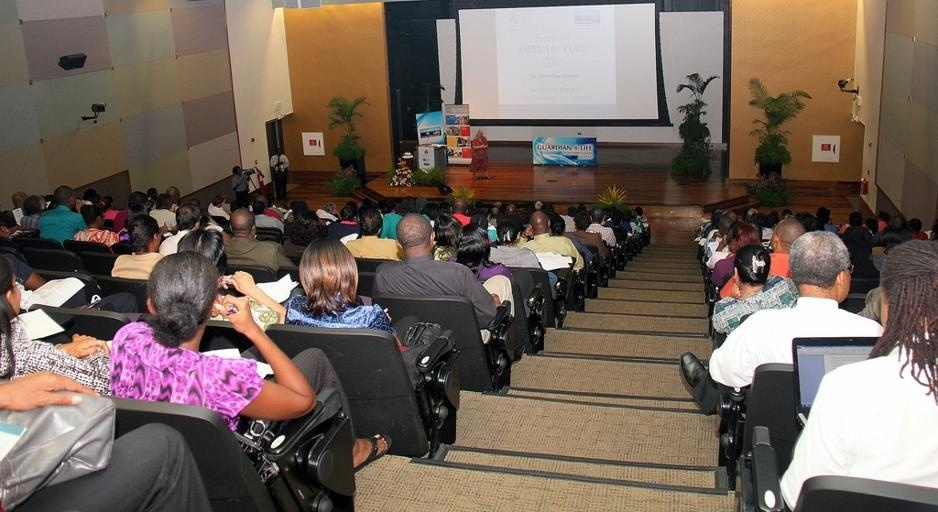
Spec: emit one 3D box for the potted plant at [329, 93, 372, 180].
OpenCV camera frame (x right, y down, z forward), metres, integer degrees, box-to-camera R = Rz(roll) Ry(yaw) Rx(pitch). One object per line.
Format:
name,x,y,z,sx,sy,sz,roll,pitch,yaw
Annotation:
potted plant,-4.038,-3.944,18.891,1.279,2.780,1.486,-1,13,-13

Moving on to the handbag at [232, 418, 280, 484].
handbag,-1.095,1.023,2.899,0.199,0.228,0.217,-37,35,-7

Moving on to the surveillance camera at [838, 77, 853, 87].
surveillance camera,10.534,-4.868,15.857,0.532,0.224,0.286,-30,21,-37

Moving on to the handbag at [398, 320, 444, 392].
handbag,-0.385,0.714,4.005,0.322,0.134,0.373,17,35,21

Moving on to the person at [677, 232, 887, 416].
person,2.145,0.488,3.976,0.984,1.511,1.247,-5,33,12

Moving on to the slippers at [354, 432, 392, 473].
slippers,-0.653,1.316,3.772,0.281,0.077,0.116,-32,45,-31

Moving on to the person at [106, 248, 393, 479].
person,-1.315,0.292,3.282,0.817,1.453,1.269,24,37,16

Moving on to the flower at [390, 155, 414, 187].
flower,-2.106,-2.662,17.851,0.709,0.623,0.998,3,29,-2

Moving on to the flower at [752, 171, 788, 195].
flower,8.182,-1.959,15.457,0.859,0.891,0.829,-3,22,19

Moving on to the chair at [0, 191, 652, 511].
chair,-1.208,0.459,3.884,1.482,1.441,2.397,8,17,22

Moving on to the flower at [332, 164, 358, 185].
flower,-3.928,-2.526,18.033,0.704,0.436,0.867,-3,-7,-2

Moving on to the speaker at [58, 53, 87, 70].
speaker,-7.918,-3.872,11.243,0.213,0.277,0.414,35,27,4

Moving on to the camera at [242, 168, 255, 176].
camera,-6.150,-2.344,15.880,0.436,0.167,0.325,-5,9,-42

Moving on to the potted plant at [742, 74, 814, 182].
potted plant,8.587,-3.629,15.977,1.474,2.727,1.960,9,14,29

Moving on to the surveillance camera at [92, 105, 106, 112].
surveillance camera,-7.738,-3.087,11.825,0.208,0.126,0.197,-4,7,-7
